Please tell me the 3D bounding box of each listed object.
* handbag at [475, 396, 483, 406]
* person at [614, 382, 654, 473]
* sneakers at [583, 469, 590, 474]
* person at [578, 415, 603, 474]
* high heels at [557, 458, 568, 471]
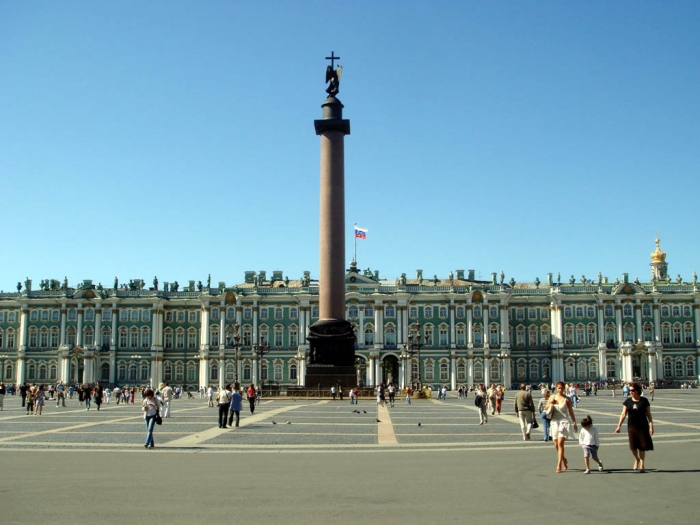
[{"bbox_3d":[5.452,5.923,39.654,0.260,0.437,0.642,-2,-7,6],"label":"handbag"},{"bbox_3d":[7.663,4.390,24.994,0.808,2.347,1.593,-3,-8,15],"label":"person"},{"bbox_3d":[6.206,5.518,24.483,0.079,0.105,0.236,14,-12,-12],"label":"sneakers"},{"bbox_3d":[6.573,4.914,25.381,0.597,1.477,2.695,-3,-8,14],"label":"person"},{"bbox_3d":[5.706,5.486,25.056,0.176,0.244,0.599,-8,-22,13],"label":"high heels"}]
